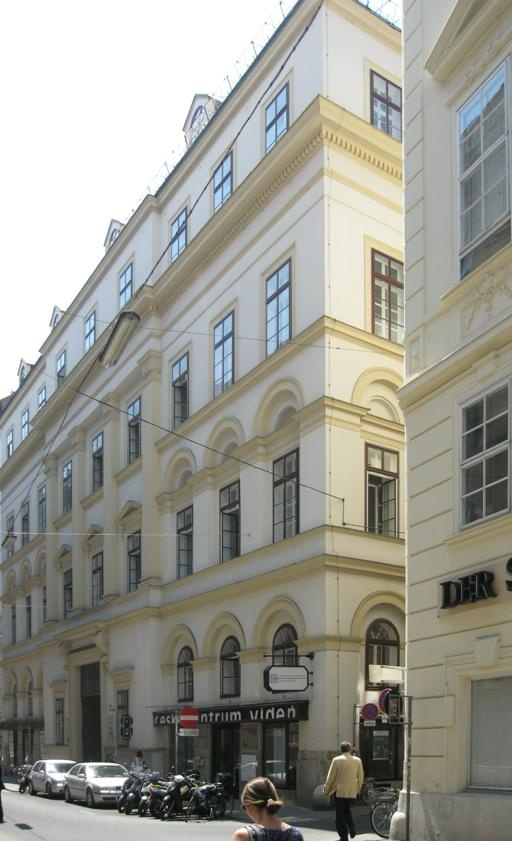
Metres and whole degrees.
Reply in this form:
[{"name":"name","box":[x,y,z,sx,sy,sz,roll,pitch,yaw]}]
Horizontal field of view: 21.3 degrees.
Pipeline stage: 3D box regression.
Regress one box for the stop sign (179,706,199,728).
[{"name":"stop sign","box":[-1.578,6.866,31.585,0.412,0.520,0.876,2,-20,-7]}]
